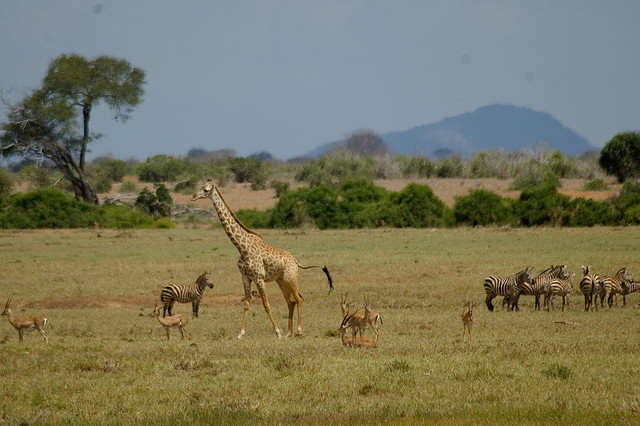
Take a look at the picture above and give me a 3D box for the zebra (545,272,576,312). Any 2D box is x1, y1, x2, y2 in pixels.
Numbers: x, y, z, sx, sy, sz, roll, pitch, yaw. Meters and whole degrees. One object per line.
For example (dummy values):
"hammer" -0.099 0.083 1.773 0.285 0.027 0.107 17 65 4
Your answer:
"zebra" 11.127 3.664 46.497 2.273 1.740 0.617 2 -1 -40

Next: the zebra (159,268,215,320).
"zebra" -6.031 3.784 45.645 2.514 2.104 0.813 -1 5 7

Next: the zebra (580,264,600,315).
"zebra" 12.419 3.523 46.243 0.814 2.015 1.655 1 2 16
